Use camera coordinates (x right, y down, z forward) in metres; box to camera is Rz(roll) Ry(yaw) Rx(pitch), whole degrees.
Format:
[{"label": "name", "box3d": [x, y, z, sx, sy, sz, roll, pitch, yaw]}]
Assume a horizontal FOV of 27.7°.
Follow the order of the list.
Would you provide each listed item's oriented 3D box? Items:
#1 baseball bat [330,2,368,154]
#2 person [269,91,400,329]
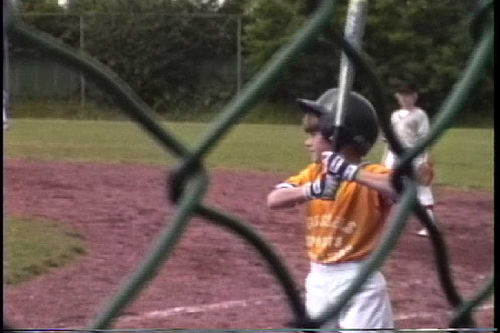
[{"label": "baseball bat", "box3d": [0.730, -0.658, 7.595, 0.180, 1.122, 0.140, 5, 11, 4]}, {"label": "person", "box3d": [0.678, 0.319, 7.737, 0.933, 1.776, 0.360, 4, 10, 0]}]
